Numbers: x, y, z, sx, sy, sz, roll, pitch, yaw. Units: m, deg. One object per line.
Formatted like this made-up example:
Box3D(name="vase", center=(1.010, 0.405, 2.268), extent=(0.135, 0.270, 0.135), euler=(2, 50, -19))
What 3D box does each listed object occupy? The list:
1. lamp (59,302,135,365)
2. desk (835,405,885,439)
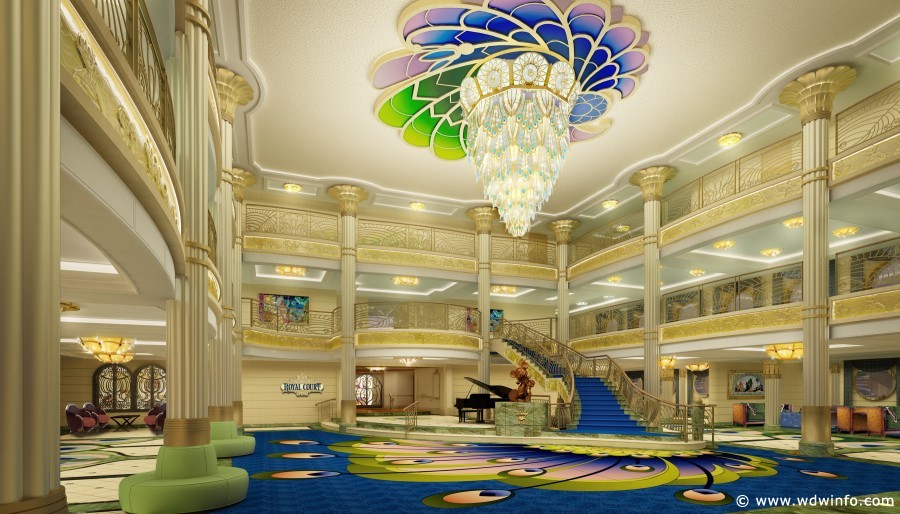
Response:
Box3D(name="lamp", center=(-10.075, 2.731, 15.638), extent=(1.310, 0.585, 2.817), euler=(10, -19, -29))
Box3D(name="desk", center=(15.476, 6.208, 19.999), extent=(0.713, 1.025, 1.626), euler=(8, -19, -22))
